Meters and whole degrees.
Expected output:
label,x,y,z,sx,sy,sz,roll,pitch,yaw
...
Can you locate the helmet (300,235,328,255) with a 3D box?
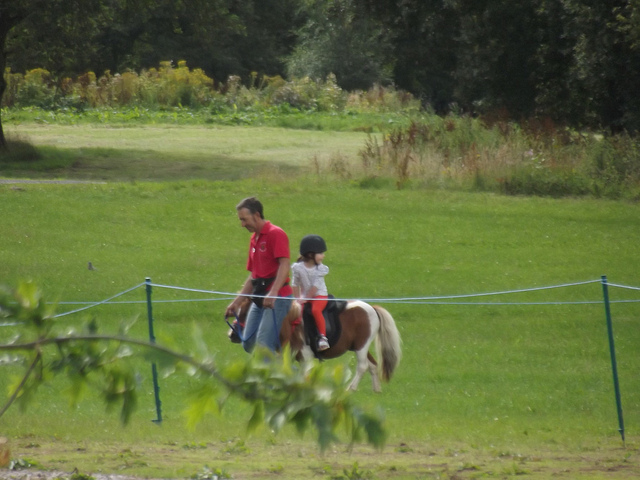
label,x,y,z,sx,sy,sz,roll,pitch,yaw
helmet,-0.195,0.101,42.757,0.569,0.408,0.478,-3,2,0
